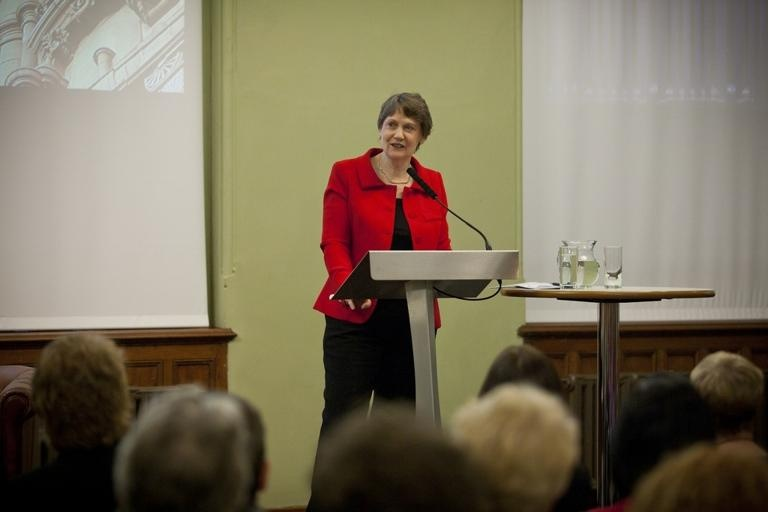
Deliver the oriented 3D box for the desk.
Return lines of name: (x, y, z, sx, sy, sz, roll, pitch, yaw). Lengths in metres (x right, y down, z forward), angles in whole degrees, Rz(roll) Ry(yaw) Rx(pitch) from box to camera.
desk: (0.865, 0.565, 2.347, 0.643, 0.876, 0.518, 1, -1, -28)

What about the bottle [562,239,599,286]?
bottle: (0.842, 0.032, 2.638, 0.158, 0.232, 0.189, 0, -6, -4)

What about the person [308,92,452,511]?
person: (0.005, 0.043, 2.581, 0.597, 1.502, 0.384, 0, -1, -7)

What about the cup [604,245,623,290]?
cup: (0.982, 0.046, 2.574, 0.067, 0.173, 0.190, 0, -1, 19)
